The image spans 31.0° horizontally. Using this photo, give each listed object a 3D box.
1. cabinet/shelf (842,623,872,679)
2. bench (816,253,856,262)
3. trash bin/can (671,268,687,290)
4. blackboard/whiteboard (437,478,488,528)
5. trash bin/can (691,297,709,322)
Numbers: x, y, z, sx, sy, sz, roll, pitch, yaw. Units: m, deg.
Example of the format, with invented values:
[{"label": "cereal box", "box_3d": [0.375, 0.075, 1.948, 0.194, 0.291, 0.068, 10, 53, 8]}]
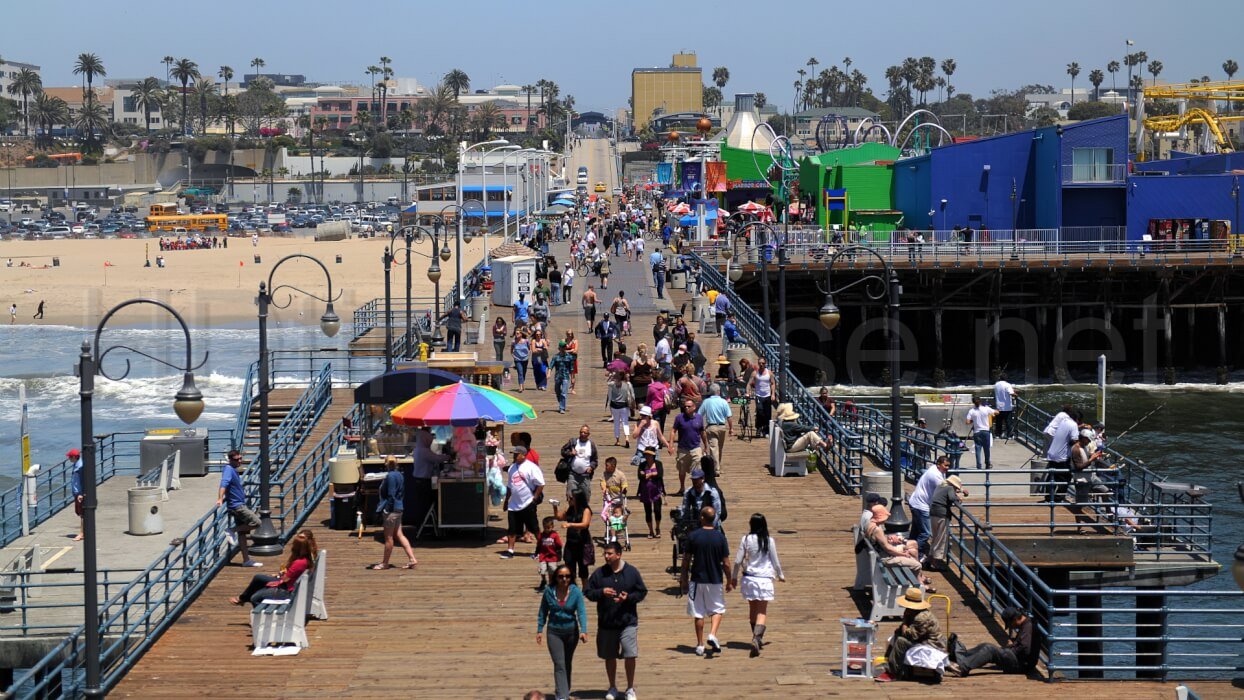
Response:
[{"label": "cabinet/shelf", "box_3d": [13.876, 17.033, 128.377, 1.770, 3.309, 0.794, 2, 5, 6]}, {"label": "bench", "box_3d": [15.516, -6.508, 159.080, 2.206, 0.429, 2.279, 1, -3, -21]}, {"label": "trash bin/can", "box_3d": [4.843, -5.175, 165.562, 1.727, 1.504, 1.198, 0, -4, -2]}, {"label": "blackboard/whiteboard", "box_3d": [-9.389, 9.237, 134.607, 3.286, 2.804, 2.943, 1, -3, -5]}, {"label": "trash bin/can", "box_3d": [6.094, -2.722, 155.011, 1.664, 1.661, 1.563, 1, -2, -9]}]
